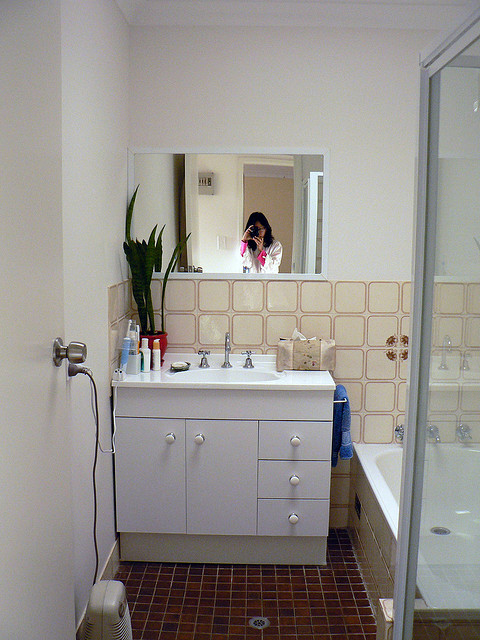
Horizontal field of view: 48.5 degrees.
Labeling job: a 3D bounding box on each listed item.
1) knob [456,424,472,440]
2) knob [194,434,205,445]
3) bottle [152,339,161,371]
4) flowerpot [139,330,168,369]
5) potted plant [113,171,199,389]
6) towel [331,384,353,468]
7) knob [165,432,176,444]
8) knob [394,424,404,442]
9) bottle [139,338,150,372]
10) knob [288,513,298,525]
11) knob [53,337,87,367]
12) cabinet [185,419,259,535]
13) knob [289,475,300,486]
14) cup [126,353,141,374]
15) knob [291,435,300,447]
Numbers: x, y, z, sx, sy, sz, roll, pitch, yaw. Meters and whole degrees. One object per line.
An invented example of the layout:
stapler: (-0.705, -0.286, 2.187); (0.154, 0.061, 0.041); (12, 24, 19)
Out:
knob: (0.392, 0.200, 0.939); (0.014, 0.019, 0.020); (-11, 36, 0)
knob: (-0.170, 0.510, 2.229); (0.042, 0.040, 0.026); (0, 5, -3)
bottle: (-0.378, 0.166, 2.406); (0.030, 0.140, 0.024); (0, 5, 0)
flowerpot: (-0.401, 0.135, 2.486); (0.132, 0.182, 0.144); (-1, 5, -21)
potted plant: (-0.372, -0.210, 2.414); (0.338, 0.968, 0.502); (0, 5, 0)
towel: (0.461, 0.510, 2.429); (0.088, 0.389, 0.200); (1, 5, 11)
knob: (-0.291, 0.502, 2.223); (0.037, 0.033, 0.033); (6, -9, -14)
knob: (0.805, 0.587, 2.705); (0.028, 0.094, 0.045); (-4, 7, -42)
bottle: (-0.425, 0.163, 2.374); (0.044, 0.148, 0.042); (0, 5, 0)
knob: (0.224, 0.867, 2.264); (0.037, 0.055, 0.043); (1, 5, 12)
knob: (-0.366, 0.072, 1.152); (0.064, 0.067, 0.070); (-1, 5, -16)
cabinet: (-0.070, 0.668, 2.364); (0.312, 0.761, 0.410); (0, 4, 1)
knob: (0.228, 0.694, 2.246); (0.042, 0.050, 0.040); (1, 5, 5)
cup: (-0.458, 0.196, 2.310); (0.054, 0.095, 0.073); (1, 5, 2)
knob: (0.228, 0.514, 2.216); (0.046, 0.066, 0.032); (2, 13, 4)
